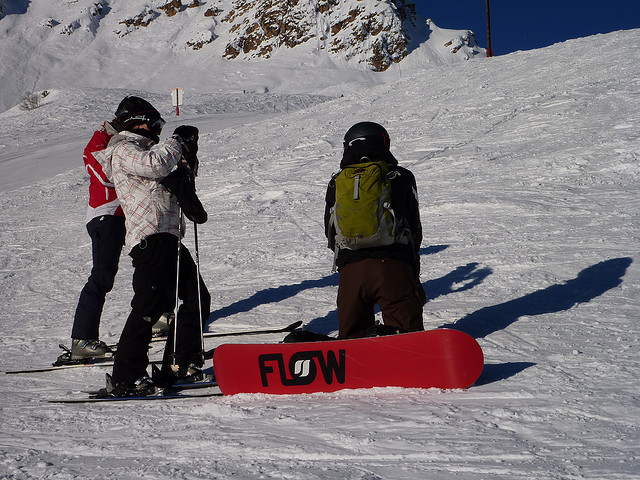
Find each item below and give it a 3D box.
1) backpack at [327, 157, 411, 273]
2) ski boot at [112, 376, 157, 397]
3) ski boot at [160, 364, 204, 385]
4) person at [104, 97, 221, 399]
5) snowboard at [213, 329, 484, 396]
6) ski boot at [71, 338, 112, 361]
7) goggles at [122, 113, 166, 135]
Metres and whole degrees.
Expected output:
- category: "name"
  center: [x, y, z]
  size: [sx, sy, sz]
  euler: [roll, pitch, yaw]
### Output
- category: "backpack"
  center: [0.356, -0.200, 6.257]
  size: [0.688, 0.885, 0.330]
  euler: [-9, 9, 1]
- category: "ski boot"
  center: [-1.526, 1.204, 6.244]
  size: [0.331, 0.154, 0.098]
  euler: [-9, 8, -11]
- category: "ski boot"
  center: [-1.174, 1.123, 6.514]
  size: [0.320, 0.184, 0.162]
  euler: [-7, 8, 6]
- category: "person"
  center: [-1.452, 0.019, 6.700]
  size: [1.241, 2.461, 1.114]
  euler: [-7, -8, 1]
- category: "snowboard"
  center: [0.223, 1.002, 6.142]
  size: [2.100, 0.535, 0.134]
  euler: [-6, 9, 3]
- category: "ski boot"
  center: [-2.156, 1.014, 7.104]
  size: [0.436, 0.177, 0.140]
  euler: [0, 17, -11]
- category: "goggles"
  center: [-1.498, -0.988, 6.549]
  size: [0.299, 0.097, 0.197]
  euler: [-9, 7, -14]
